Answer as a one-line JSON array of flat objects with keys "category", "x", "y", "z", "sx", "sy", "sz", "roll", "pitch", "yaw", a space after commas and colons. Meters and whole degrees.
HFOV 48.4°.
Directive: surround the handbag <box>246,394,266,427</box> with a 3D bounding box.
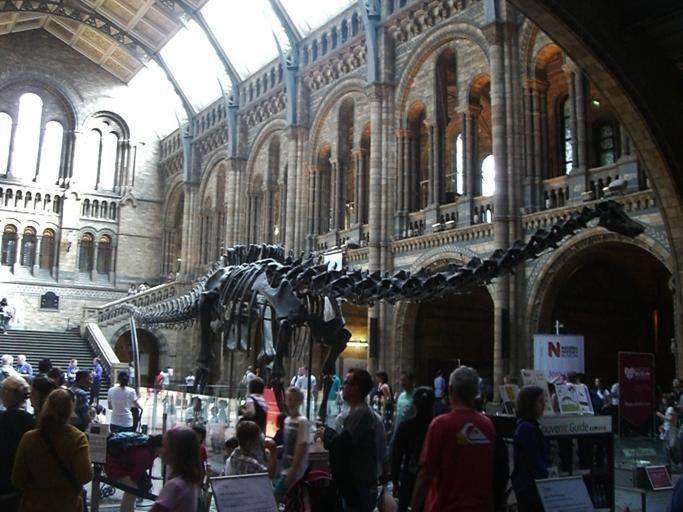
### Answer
[{"category": "handbag", "x": -0.934, "y": 1.743, "z": 8.413, "sx": 0.209, "sy": 0.389, "sz": 0.386, "roll": -1, "pitch": -11, "yaw": -2}]
